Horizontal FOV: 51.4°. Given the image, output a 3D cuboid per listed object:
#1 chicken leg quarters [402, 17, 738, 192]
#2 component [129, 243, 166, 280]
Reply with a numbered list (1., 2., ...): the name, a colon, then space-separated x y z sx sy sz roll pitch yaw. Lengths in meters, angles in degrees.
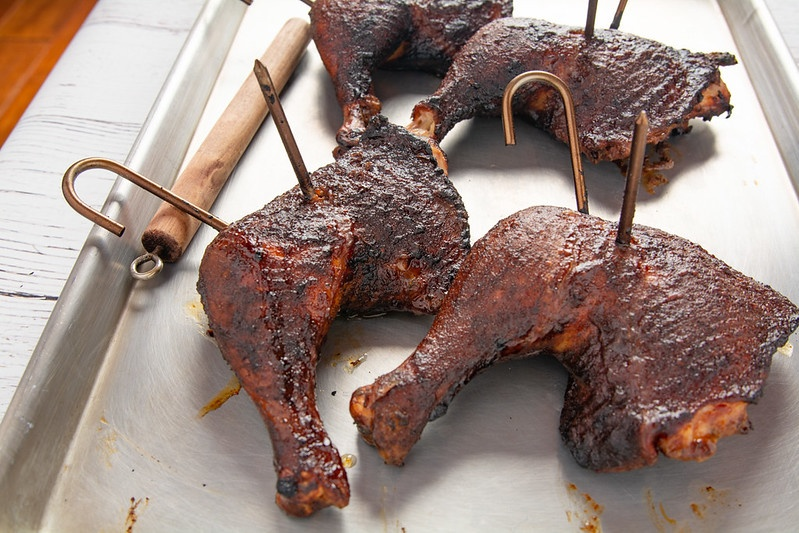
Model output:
1. chicken leg quarters: 0.661 -0.611 2.962 0.800 0.211 0.756 33 76 8
2. component: -0.847 -0.004 2.805 0.090 0.031 0.119 13 44 18
